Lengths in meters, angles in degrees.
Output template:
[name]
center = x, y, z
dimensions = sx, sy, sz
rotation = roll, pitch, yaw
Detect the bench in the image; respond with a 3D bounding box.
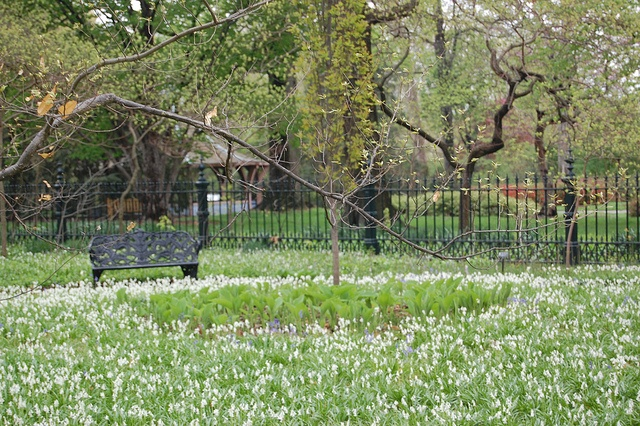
[bench]
center = -4.976, 1.246, 36.183
dimensions = 3.021, 1.515, 1.125
rotation = 2, 0, -9
